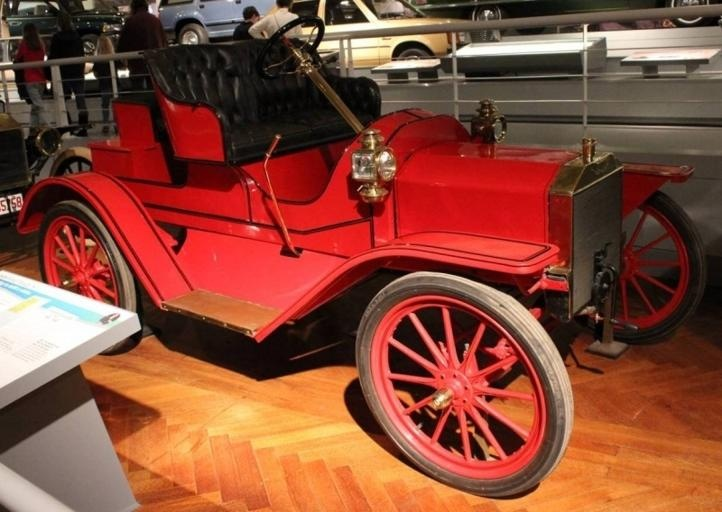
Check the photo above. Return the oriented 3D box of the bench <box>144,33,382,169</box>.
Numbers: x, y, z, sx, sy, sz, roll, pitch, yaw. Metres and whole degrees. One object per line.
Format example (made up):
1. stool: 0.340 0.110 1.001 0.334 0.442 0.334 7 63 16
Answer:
1. bench: -0.542 -0.960 3.106 0.771 0.545 1.300 23 35 26

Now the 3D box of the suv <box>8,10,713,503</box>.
1. suv: -0.245 -0.129 3.000 3.684 1.623 2.187 9 19 31
